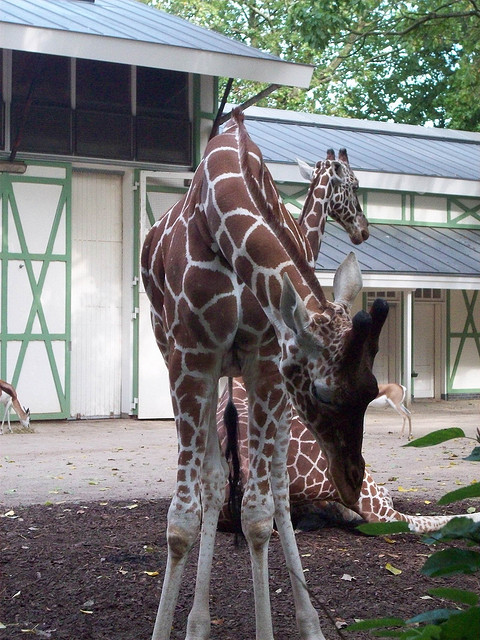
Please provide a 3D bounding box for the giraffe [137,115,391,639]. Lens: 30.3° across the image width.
[{"bbox_3d":[0.037,0.234,3.495,0.789,2.194,1.376,-1,3,-5],"label":"giraffe"}]
